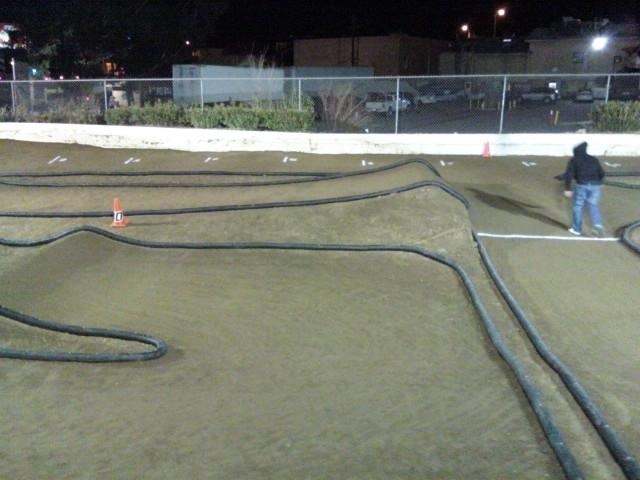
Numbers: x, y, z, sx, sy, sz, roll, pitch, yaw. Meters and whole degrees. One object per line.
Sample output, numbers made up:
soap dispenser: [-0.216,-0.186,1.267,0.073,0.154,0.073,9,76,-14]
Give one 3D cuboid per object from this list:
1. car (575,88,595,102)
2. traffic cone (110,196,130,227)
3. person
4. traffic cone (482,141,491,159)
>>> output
car: [15.796,-8.586,33.728,0.980,0.797,2.071,7,14,25]
traffic cone: [-4.827,-0.733,13.542,0.366,0.638,1.277,-3,13,-19]
person: [5.843,-1.124,12.496,0.874,1.998,0.727,4,12,13]
traffic cone: [5.798,-3.146,19.689,0.282,0.538,0.480,5,12,16]
